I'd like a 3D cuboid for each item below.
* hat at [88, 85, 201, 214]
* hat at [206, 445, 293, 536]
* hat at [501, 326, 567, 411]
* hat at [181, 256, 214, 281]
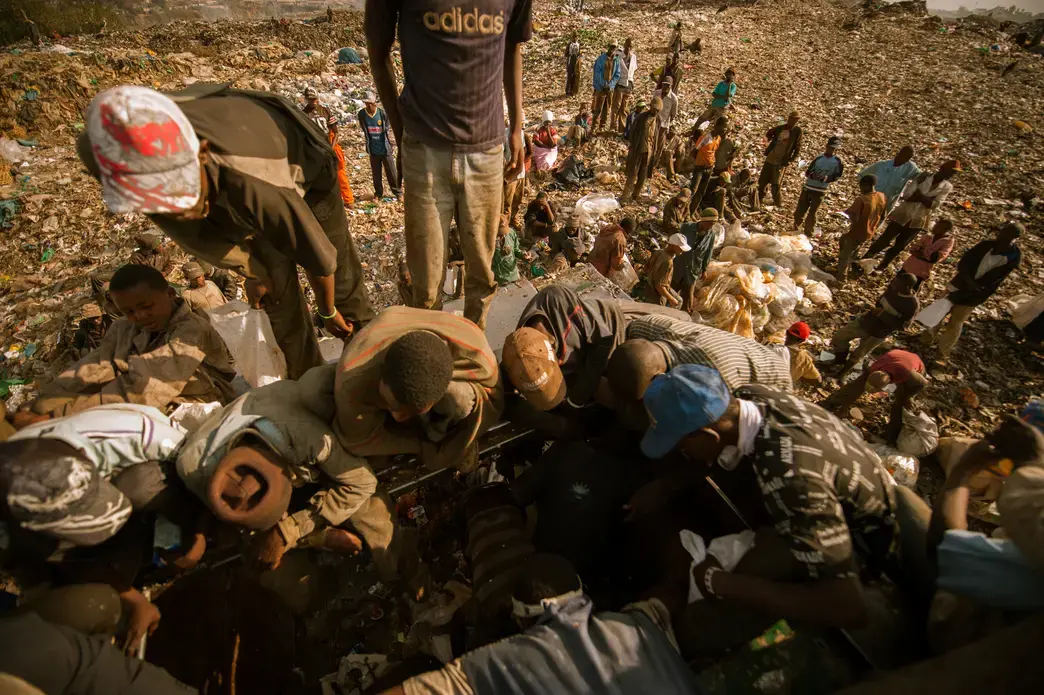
[{"bbox_3d":[-2.684,-1.387,4.956,0.715,0.795,0.509,-14,42,-22],"label":"hat"},{"bbox_3d":[-2.036,1.005,5.440,0.526,0.690,0.634,31,-10,-21],"label":"hat"},{"bbox_3d":[0.115,0.176,5.746,0.659,0.471,0.394,60,22,2],"label":"hat"},{"bbox_3d":[-3.348,-0.770,7.112,0.275,0.126,0.390,-21,36,-34],"label":"hat"}]
